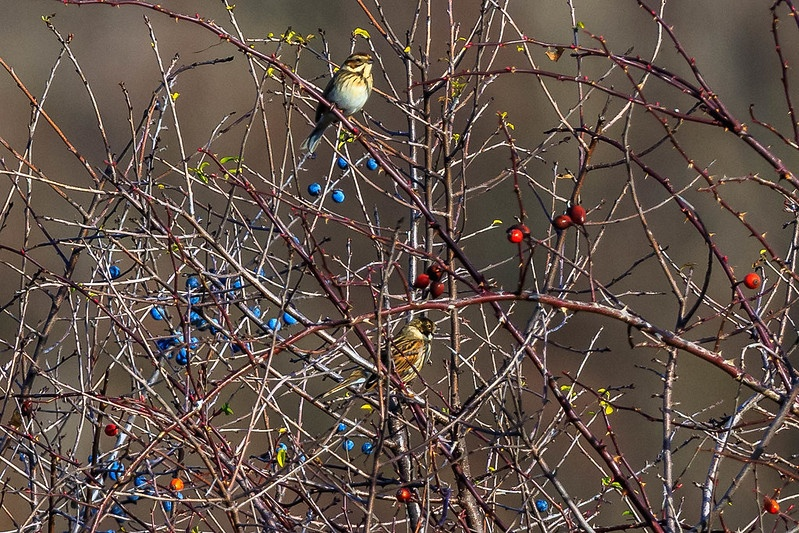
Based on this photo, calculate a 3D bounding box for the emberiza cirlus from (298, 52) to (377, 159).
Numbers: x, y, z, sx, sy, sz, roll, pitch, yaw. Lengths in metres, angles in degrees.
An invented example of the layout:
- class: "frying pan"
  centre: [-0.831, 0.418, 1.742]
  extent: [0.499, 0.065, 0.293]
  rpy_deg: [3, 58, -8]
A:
- class: "emberiza cirlus"
  centre: [-0.689, -1.849, 11.339]
  extent: [0.424, 0.635, 1.200]
  rpy_deg: [12, -28, -43]
